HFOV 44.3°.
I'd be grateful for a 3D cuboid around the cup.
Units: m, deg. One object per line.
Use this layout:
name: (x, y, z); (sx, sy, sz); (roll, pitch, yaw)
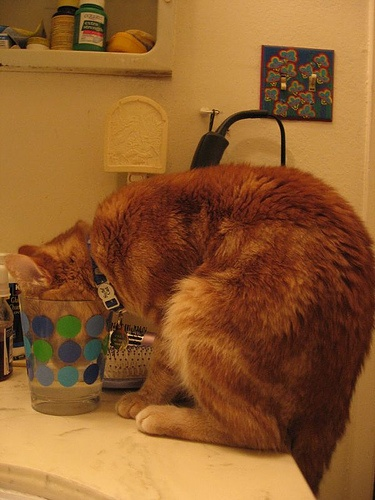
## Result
cup: (-0.215, 0.198, 0.868); (0.189, 0.190, 0.190); (1, -10, 0)
